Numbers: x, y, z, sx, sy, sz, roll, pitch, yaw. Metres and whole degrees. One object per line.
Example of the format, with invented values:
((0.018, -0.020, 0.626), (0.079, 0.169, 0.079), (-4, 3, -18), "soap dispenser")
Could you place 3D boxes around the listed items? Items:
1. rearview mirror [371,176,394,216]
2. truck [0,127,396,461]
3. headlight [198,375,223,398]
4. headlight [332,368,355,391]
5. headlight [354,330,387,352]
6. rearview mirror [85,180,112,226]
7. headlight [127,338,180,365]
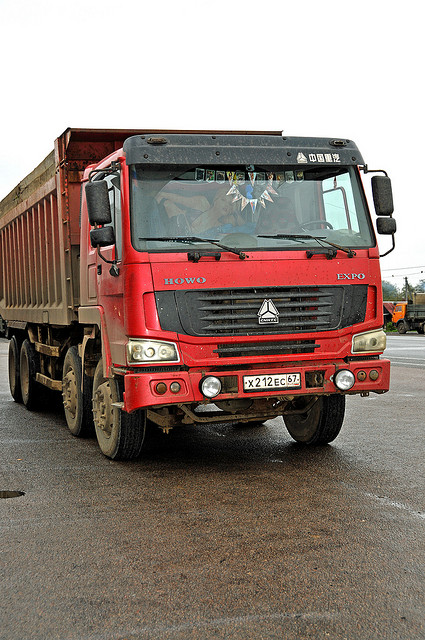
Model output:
((1.725, -1.271, 4.718), (0.307, 0.429, 0.165), (5, -9, -42), "rearview mirror")
((-0.949, -0.543, 6.905), (3.316, 3.439, 6.459), (1, -1, -24), "truck")
((-0.028, 0.571, 3.975), (0.195, 0.194, 0.059), (-1, -7, -7), "headlight")
((1.215, 0.558, 4.336), (0.195, 0.202, 0.064), (5, -1, -27), "headlight")
((1.560, 0.203, 4.510), (0.424, 0.213, 0.094), (2, -8, -29), "headlight")
((-1.031, -1.058, 4.157), (0.225, 0.430, 0.224), (-2, -7, 2), "rearview mirror")
((-0.501, 0.266, 3.933), (0.434, 0.215, 0.085), (-2, -7, -2), "headlight")
